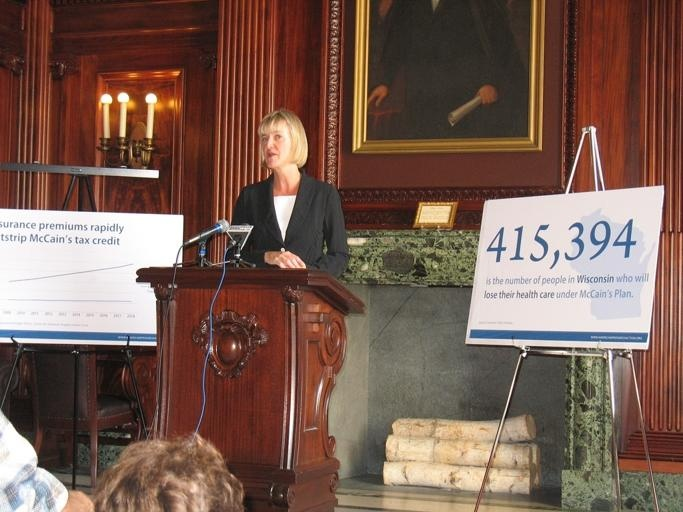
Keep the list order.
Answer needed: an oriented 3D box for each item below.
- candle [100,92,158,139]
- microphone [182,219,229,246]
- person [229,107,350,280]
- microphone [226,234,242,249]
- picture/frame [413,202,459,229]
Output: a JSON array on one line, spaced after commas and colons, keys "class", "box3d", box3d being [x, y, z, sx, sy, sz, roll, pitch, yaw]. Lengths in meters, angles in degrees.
[{"class": "candle", "box3d": [-1.750, -1.156, 8.916, 0.337, 0.338, 0.096, 2, 8, 8]}, {"class": "microphone", "box3d": [-0.908, -0.154, 7.282, 0.350, 0.104, 0.099, -28, 3, -29]}, {"class": "person", "box3d": [-0.325, -0.390, 6.712, 0.714, 1.015, 0.357, -1, -1, 2]}, {"class": "microphone", "box3d": [-0.605, -0.096, 6.068, 0.037, 0.073, 0.069, 20, -26, 5]}, {"class": "picture/frame", "box3d": [0.706, -0.306, 8.150, 0.326, 0.212, 0.124, -1, -1, 6]}]
